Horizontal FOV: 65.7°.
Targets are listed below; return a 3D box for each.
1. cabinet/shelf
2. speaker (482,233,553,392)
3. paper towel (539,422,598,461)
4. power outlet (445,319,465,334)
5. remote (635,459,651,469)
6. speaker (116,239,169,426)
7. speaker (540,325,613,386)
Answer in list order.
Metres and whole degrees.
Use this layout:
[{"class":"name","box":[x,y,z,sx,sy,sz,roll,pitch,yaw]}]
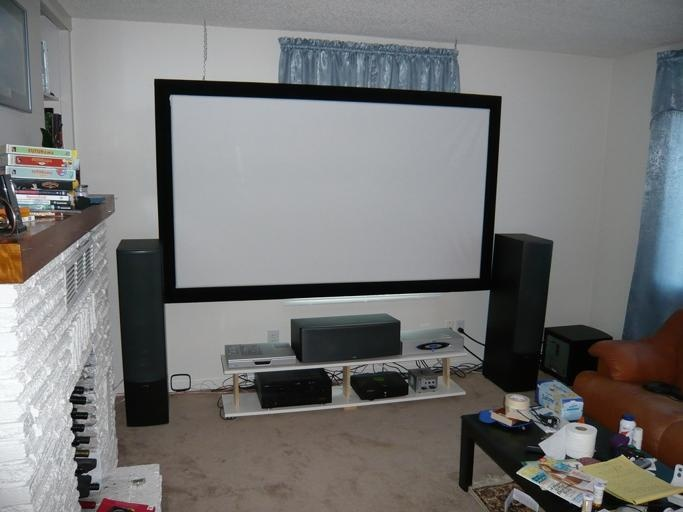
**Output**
[{"class":"cabinet/shelf","box":[0.064,0.920,4.305,1.989,0.566,0.518,-3,8,-12]},{"class":"speaker","box":[1.510,0.466,4.577,0.399,1.293,0.465,-4,9,-17]},{"class":"paper towel","box":[1.254,1.017,2.904,0.271,0.150,0.158,-14,18,-28]},{"class":"power outlet","box":[1.008,0.630,4.756,0.129,0.124,0.055,-1,4,-14]},{"class":"remote","box":[1.634,1.118,2.858,0.085,0.037,0.044,-5,9,-25]},{"class":"speaker","box":[-1.435,0.595,3.826,0.313,1.318,0.097,-5,9,-24]},{"class":"speaker","box":[2.043,0.766,4.677,0.493,0.511,0.491,-7,14,-18]}]
